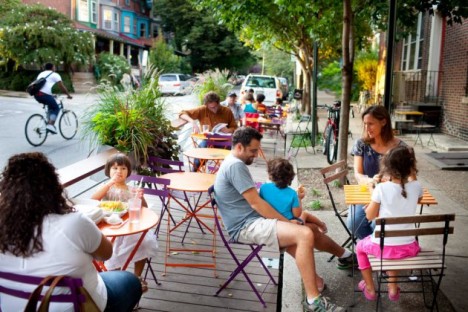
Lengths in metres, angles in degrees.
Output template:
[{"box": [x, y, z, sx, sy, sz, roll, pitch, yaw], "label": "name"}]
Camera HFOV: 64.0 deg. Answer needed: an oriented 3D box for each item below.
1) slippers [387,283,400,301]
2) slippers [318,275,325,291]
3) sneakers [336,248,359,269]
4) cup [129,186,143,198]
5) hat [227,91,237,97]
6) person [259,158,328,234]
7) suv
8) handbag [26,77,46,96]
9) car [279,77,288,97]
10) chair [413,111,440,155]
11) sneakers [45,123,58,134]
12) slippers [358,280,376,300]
[{"box": [1.755, 1.545, 4.156, 0.113, 0.102, 0.236, -3, 36, 26], "label": "slippers"}, {"box": [1.017, 1.523, 4.409, 0.081, 0.094, 0.230, -5, 24, 13], "label": "slippers"}, {"box": [1.489, 1.328, 4.813, 0.403, 0.189, 0.156, -5, 5, -43], "label": "sneakers"}, {"box": [-1.046, 0.411, 3.976, 0.144, 0.115, 0.152, 3, 8, 0], "label": "cup"}, {"box": [-0.046, -1.673, 10.167, 0.197, 0.148, 0.279, 22, 3, -19], "label": "hat"}, {"box": [0.858, 0.582, 5.220, 0.879, 1.121, 0.630, -26, 29, -37], "label": "person"}, {"box": [1.515, -3.341, 19.124, 1.450, 1.304, 2.395, 2, 21, 12], "label": "suv"}, {"box": [-5.291, -1.867, 10.124, 0.321, 0.554, 0.203, 42, 8, 7], "label": "handbag"}, {"box": [3.914, -5.316, 29.679, 1.011, 0.976, 2.229, -1, 27, 12], "label": "car"}, {"box": [5.942, -0.907, 11.639, 0.622, 0.858, 2.274, 5, 13, 25], "label": "chair"}, {"box": [-4.876, -0.723, 10.086, 0.114, 0.137, 0.320, 22, -11, 23], "label": "sneakers"}, {"box": [1.482, 1.531, 4.228, 0.116, 0.103, 0.237, -12, 38, -7], "label": "slippers"}]
